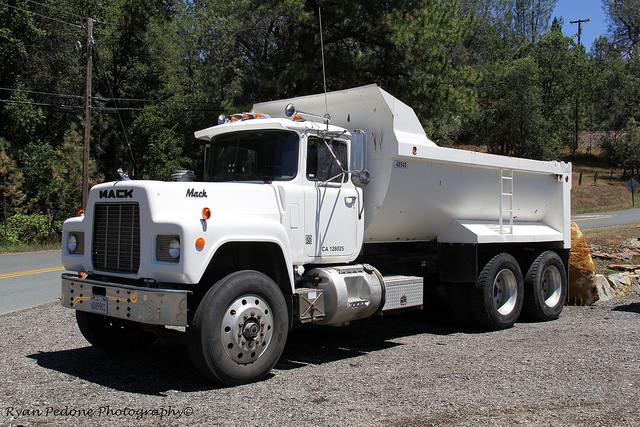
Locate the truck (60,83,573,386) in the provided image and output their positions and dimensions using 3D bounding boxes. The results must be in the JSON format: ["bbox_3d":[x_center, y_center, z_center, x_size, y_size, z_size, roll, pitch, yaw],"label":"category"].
[{"bbox_3d":[0.537,0.506,11.476,11.102,5.251,5.033,4,-6,-41],"label":"truck"}]

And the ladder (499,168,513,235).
[{"bbox_3d":[4.406,-0.274,11.979,0.307,1.541,0.148,0,0,-6],"label":"ladder"}]
